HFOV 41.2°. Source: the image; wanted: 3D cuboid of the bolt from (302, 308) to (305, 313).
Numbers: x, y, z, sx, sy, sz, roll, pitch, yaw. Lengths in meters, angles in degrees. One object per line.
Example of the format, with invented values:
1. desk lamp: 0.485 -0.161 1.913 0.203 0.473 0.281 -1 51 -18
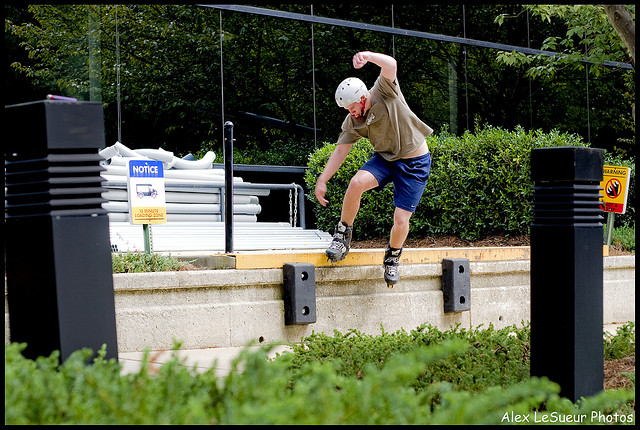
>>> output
1. bolt: -0.181 1.024 9.228 0.017 0.056 0.056 2 3 45

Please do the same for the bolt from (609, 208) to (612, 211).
1. bolt: 4.243 -0.091 12.432 0.030 0.030 0.009 2 -4 6

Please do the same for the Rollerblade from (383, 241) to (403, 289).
1. Rollerblade: 0.827 0.547 9.754 0.191 0.483 0.242 -2 3 -7

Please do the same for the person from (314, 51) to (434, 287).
1. person: 0.645 -0.464 9.629 1.265 2.647 0.785 -1 3 6

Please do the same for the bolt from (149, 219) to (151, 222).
1. bolt: -1.980 0.052 9.925 0.028 0.028 0.015 0 -3 -24
